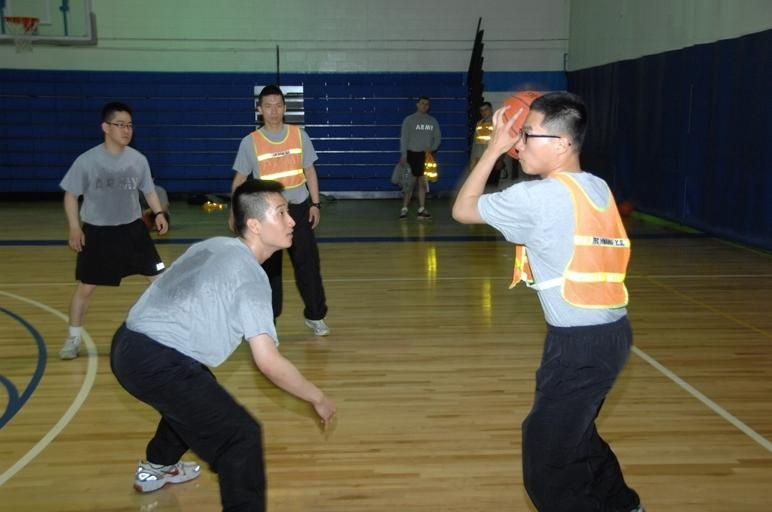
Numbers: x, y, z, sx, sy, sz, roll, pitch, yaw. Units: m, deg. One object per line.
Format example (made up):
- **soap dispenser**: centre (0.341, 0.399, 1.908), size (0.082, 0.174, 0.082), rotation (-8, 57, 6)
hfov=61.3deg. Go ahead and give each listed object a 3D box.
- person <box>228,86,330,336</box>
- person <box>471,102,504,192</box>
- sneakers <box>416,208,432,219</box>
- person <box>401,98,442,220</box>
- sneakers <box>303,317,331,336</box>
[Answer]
- **person**: centre (-0.919, -0.359, 5.837), size (0.738, 2.226, 0.657), rotation (-1, 16, -2)
- **person**: centre (1.980, -1.909, 12.456), size (0.735, 2.157, 0.611), rotation (-7, 33, 4)
- **sneakers**: centre (0.712, -0.766, 11.628), size (0.329, 0.210, 0.115), rotation (-1, 25, -6)
- **person**: centre (0.607, -1.719, 11.573), size (0.655, 2.150, 0.759), rotation (1, 19, 5)
- **sneakers**: centre (-0.636, 0.653, 6.050), size (0.116, 0.108, 0.247), rotation (-13, 23, -38)
